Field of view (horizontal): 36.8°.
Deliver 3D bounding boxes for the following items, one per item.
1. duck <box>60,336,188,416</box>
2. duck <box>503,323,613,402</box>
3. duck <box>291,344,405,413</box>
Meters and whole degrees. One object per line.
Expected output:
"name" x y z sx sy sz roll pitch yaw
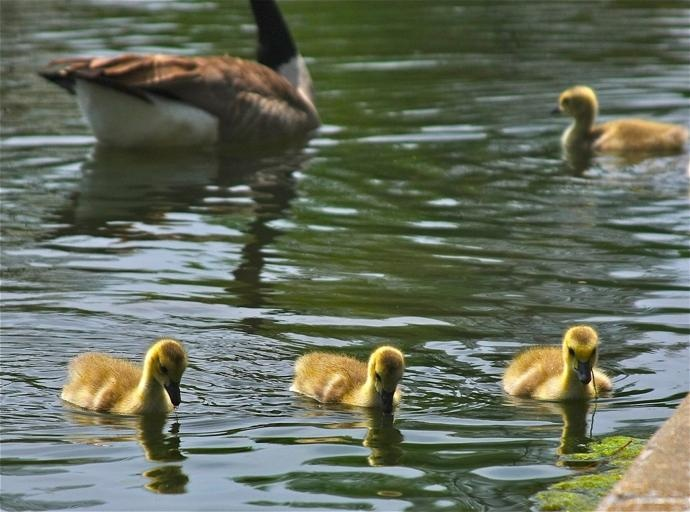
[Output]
"duck" -2.121 1.132 10.019 1.199 0.628 0.738 24 26 37
"duck" 2.059 1.036 10.188 1.052 0.694 0.735 -1 14 13
"duck" 0.019 1.154 10.100 0.654 0.567 1.031 -6 20 -40
